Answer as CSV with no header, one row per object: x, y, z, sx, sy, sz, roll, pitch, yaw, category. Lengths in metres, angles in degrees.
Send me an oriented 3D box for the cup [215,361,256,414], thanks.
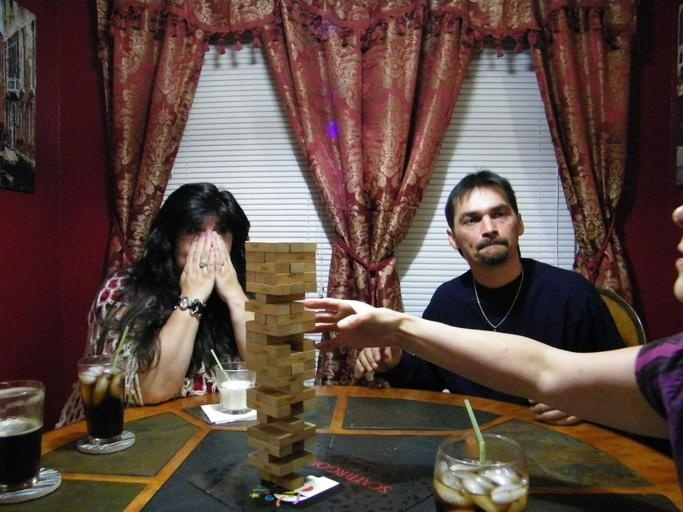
-0.351,0.465,1.832,0.156,0.163,0.150,-2,-8,0,cup

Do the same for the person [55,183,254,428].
-0.743,0.211,2.541,0.932,1.082,0.742,-6,9,-29,person

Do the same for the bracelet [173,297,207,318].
-0.632,0.213,2.216,0.087,0.053,0.102,20,-11,-23,bracelet

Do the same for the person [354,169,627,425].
0.682,0.226,2.397,1.206,1.091,0.780,-8,-4,15,person
